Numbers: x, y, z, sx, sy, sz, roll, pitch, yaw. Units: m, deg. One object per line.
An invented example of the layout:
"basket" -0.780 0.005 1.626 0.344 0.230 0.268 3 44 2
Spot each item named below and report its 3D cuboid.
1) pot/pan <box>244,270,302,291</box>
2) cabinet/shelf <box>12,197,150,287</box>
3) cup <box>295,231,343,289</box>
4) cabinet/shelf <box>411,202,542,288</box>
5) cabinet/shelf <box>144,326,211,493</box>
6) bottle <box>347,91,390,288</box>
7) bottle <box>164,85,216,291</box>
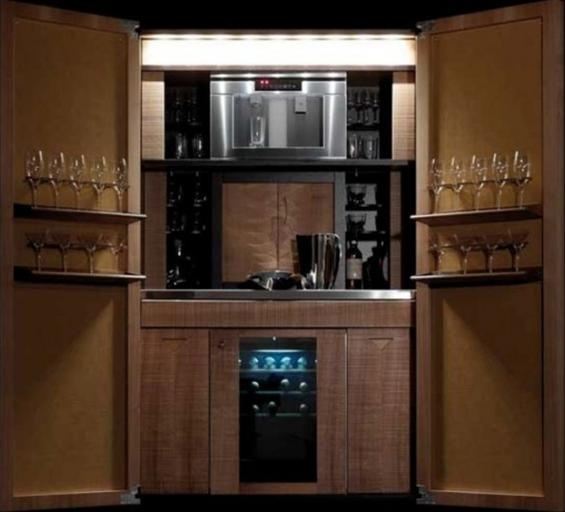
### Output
"pot/pan" -0.066 0.148 5.100 0.378 0.112 0.319 -1 4 -1
"cabinet/shelf" -1.076 -0.047 4.548 0.606 0.396 0.209 2 -7 -33
"cup" 0.192 0.055 5.296 0.291 0.455 0.268 -1 -6 0
"cabinet/shelf" 1.016 -0.190 4.571 0.257 0.462 0.713 -10 5 -44
"cabinet/shelf" -0.590 0.927 4.906 0.399 0.944 0.382 -4 -19 30
"bottle" 0.537 -0.431 5.389 0.267 1.279 0.248 0 2 0
"bottle" -0.594 -0.444 5.387 0.289 1.289 0.210 -1 2 -8
